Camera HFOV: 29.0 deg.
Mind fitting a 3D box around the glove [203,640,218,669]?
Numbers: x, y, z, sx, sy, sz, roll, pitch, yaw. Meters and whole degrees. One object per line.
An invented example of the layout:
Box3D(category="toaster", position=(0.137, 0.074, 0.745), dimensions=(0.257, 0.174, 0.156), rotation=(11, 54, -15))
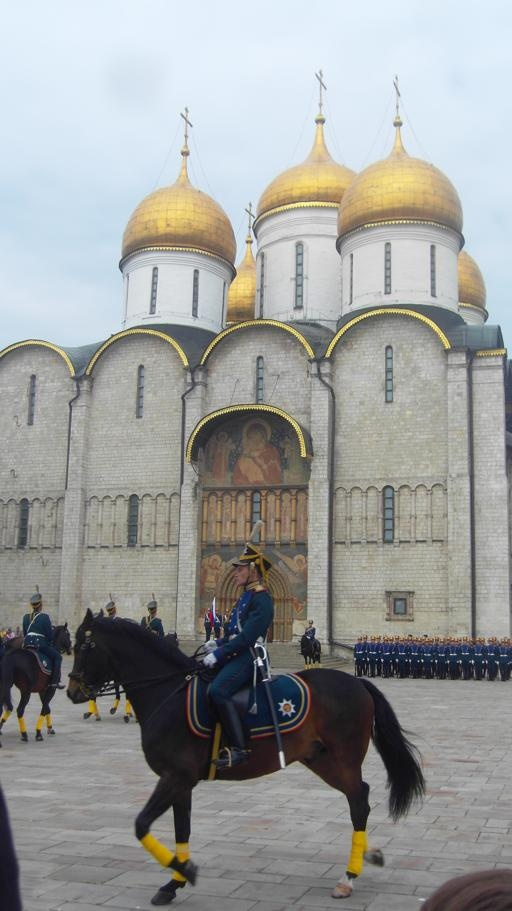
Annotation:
Box3D(category="glove", position=(-0.307, 1.383, 6.850), dimensions=(0.068, 0.154, 0.108), rotation=(-4, -2, -9))

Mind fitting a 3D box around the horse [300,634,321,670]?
Box3D(category="horse", position=(1.498, 5.215, 26.575), dimensions=(0.344, 0.827, 1.182), rotation=(-8, -33, 17))

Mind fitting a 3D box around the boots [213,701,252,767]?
Box3D(category="boots", position=(-0.153, 1.840, 6.514), dimensions=(0.218, 0.449, 0.174), rotation=(6, -9, -1))

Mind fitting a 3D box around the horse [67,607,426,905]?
Box3D(category="horse", position=(-0.067, 2.044, 6.820), dimensions=(2.523, 1.668, 1.332), rotation=(7, -9, -8))

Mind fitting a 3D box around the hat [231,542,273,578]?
Box3D(category="hat", position=(0.003, 0.758, 7.254), dimensions=(0.292, 0.220, 0.222), rotation=(14, -17, -13))
